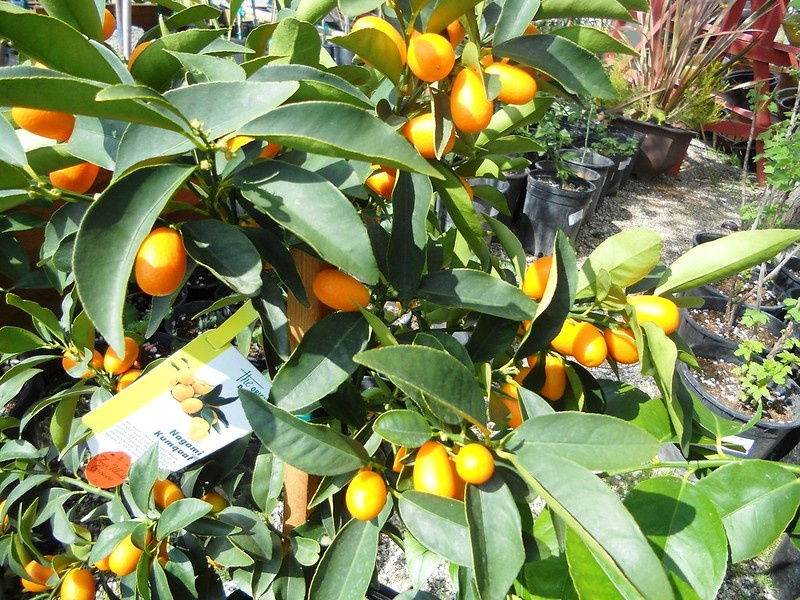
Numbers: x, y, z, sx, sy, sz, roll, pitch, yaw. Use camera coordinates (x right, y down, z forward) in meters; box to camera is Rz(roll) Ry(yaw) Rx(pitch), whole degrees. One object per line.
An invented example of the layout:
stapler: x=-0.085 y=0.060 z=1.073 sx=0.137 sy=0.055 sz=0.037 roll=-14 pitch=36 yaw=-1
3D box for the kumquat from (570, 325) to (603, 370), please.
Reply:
kumquat: x=0.355 y=0.087 z=1.135 sx=0.058 sy=0.076 sz=0.058 roll=-4 pitch=-22 yaw=-1

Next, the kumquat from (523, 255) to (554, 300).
kumquat: x=0.266 y=-0.040 z=1.223 sx=0.064 sy=0.082 sz=0.065 roll=-3 pitch=25 yaw=-21

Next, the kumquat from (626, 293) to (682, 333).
kumquat: x=0.460 y=0.020 z=1.138 sx=0.100 sy=0.059 sz=0.060 roll=22 pitch=9 yaw=37

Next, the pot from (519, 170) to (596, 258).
pot: x=1.159 y=-0.654 z=4.565 sx=0.503 sy=0.512 sz=0.477 roll=4 pitch=30 yaw=-2

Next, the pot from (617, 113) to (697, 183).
pot: x=2.594 y=-1.551 z=6.299 sx=0.806 sy=0.523 sz=0.669 roll=15 pitch=17 yaw=5

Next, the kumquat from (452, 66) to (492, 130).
kumquat: x=0.114 y=-0.322 z=0.993 sx=0.065 sy=0.099 sz=0.063 roll=-8 pitch=3 yaw=5

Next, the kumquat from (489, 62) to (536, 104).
kumquat: x=0.188 y=-0.353 z=1.007 sx=0.089 sy=0.051 sz=0.048 roll=3 pitch=0 yaw=-7

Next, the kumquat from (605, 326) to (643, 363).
kumquat: x=0.432 y=0.097 z=1.186 sx=0.065 sy=0.105 sz=0.057 roll=7 pitch=36 yaw=23

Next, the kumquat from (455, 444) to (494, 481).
kumquat: x=0.128 y=0.281 z=1.031 sx=0.058 sy=0.061 sz=0.051 roll=-11 pitch=32 yaw=-4

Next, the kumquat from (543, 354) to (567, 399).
kumquat: x=0.325 y=0.165 z=1.279 sx=0.057 sy=0.088 sz=0.053 roll=-6 pitch=7 yaw=-12
